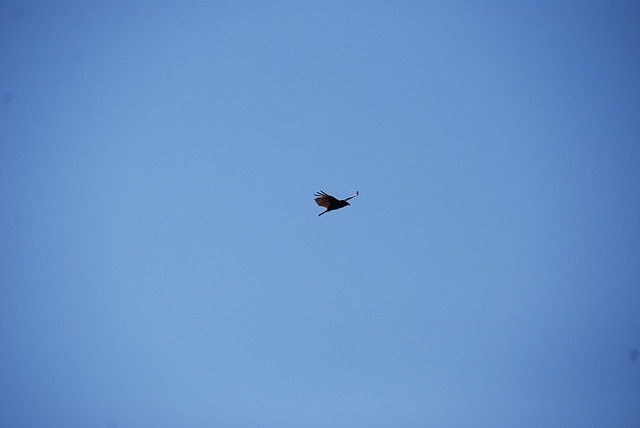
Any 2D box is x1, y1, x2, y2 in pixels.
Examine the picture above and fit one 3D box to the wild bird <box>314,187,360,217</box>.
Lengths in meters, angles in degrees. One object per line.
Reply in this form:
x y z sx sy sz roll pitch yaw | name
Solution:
0.049 -0.047 4.011 0.094 0.156 0.054 13 -94 39 | wild bird
